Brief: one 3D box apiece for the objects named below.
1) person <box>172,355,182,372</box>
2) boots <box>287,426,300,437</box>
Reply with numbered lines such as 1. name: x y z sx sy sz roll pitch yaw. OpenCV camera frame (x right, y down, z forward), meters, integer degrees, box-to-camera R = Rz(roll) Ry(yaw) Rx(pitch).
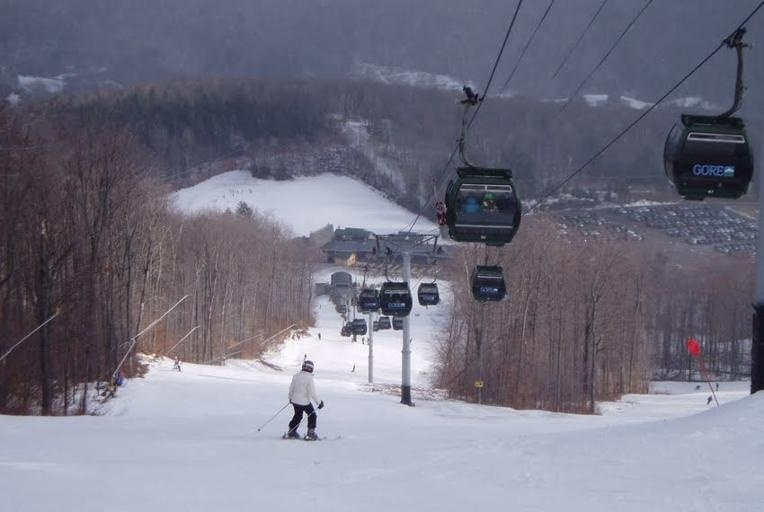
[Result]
1. person: -13.923 7.277 66.052 0.621 1.086 1.696 2 9 -8
2. boots: -4.459 8.861 49.131 0.554 0.809 0.498 2 -32 -2
